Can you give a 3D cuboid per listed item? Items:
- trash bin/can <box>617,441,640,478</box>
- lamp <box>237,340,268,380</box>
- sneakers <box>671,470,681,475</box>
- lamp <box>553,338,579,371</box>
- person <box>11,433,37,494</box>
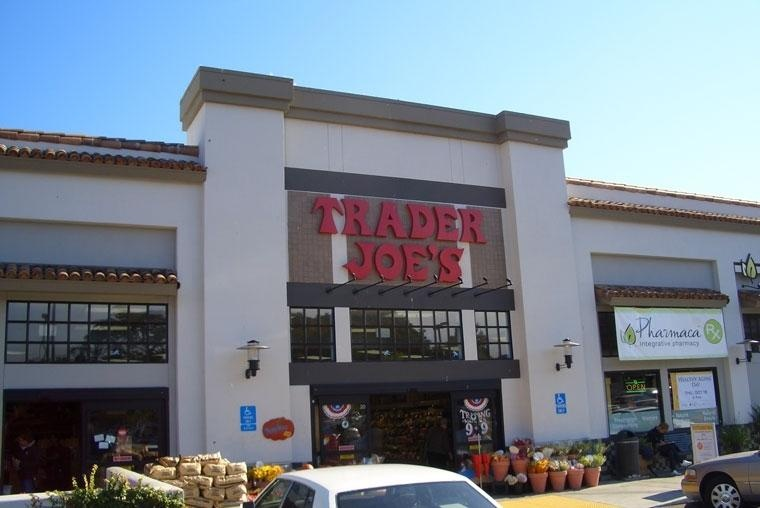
[{"bbox_3d":[8.088,6.633,21.591,0.738,1.177,0.460,-3,-15,-4],"label":"trash bin/can"},{"bbox_3d":[-3.530,2.854,18.397,0.713,1.062,0.737,-1,-15,-11],"label":"lamp"},{"bbox_3d":[9.809,7.235,22.031,0.394,0.166,0.130,1,-4,-28],"label":"sneakers"},{"bbox_3d":[6.042,3.241,21.576,0.819,1.019,0.706,-7,-14,22],"label":"lamp"},{"bbox_3d":[-9.803,5.738,18.399,0.702,1.539,2.568,5,-18,-30],"label":"person"}]
